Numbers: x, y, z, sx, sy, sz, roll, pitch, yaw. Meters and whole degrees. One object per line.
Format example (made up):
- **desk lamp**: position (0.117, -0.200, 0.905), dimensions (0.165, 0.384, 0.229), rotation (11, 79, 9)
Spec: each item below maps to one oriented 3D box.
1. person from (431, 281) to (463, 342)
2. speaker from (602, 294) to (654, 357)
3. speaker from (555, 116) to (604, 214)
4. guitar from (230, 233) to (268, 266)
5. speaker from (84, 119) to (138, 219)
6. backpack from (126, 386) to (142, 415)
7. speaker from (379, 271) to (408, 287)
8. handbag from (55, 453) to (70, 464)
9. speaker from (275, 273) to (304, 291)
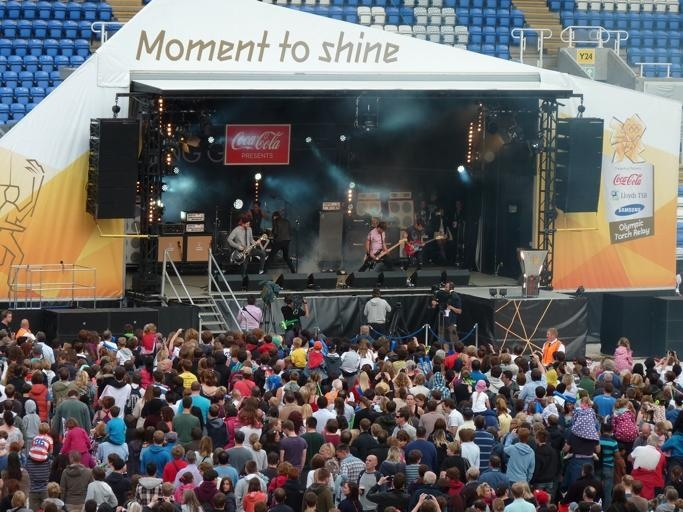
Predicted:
- **person**: position (2.638, 1.300, 41.139), dimensions (0.678, 1.586, 0.598), rotation (-6, 11, -22)
- **speaker**: position (7.264, 1.644, 41.935), dimensions (1.465, 2.082, 1.465), rotation (-1, 3, -9)
- **speaker**: position (6.124, -2.539, 42.852), dimensions (1.177, 2.464, 0.719), rotation (2, 4, 6)
- **guitar**: position (-2.528, -0.273, 43.730), dimensions (0.660, 0.328, 0.648), rotation (-28, -9, 5)
- **speaker**: position (-5.634, -2.269, 40.298), dimensions (1.267, 2.510, 0.643), rotation (2, 4, 3)
- **backpack**: position (-4.123, 2.805, 32.378), dimensions (0.447, 0.609, 0.325), rotation (6, -12, -8)
- **speaker**: position (1.302, 0.494, 42.232), dimensions (0.719, 0.374, 0.427), rotation (1, 4, -6)
- **handbag**: position (-5.188, 3.735, 30.504), dimensions (0.234, 0.184, 0.085), rotation (0, 4, -18)
- **speaker**: position (-1.289, 0.516, 41.899), dimensions (0.601, 0.396, 0.417), rotation (0, 8, -21)
